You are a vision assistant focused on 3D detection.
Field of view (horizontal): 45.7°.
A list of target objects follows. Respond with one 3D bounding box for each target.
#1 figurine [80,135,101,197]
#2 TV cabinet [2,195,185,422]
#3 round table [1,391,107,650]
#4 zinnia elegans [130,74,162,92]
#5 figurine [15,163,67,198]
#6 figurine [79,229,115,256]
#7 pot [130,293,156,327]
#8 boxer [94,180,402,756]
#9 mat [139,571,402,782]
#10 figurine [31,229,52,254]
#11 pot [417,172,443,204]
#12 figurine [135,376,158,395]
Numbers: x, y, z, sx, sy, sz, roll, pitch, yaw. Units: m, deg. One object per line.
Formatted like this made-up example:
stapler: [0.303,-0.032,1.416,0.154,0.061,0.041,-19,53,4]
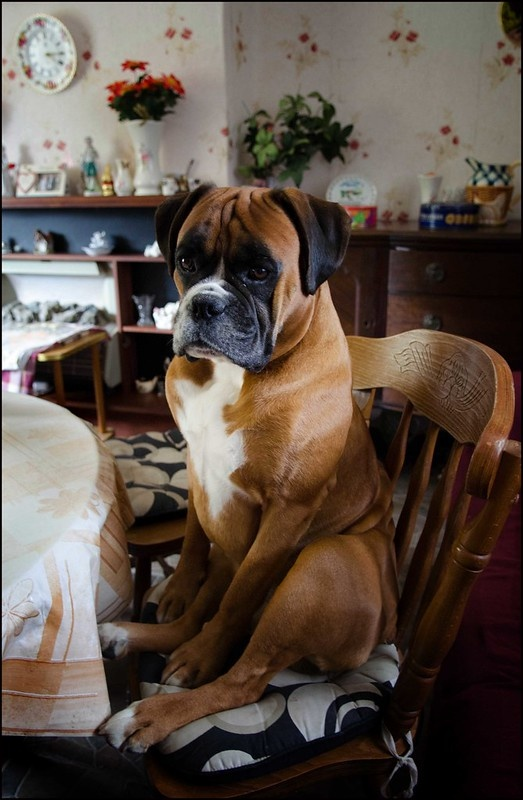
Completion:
figurine: [-0.904,-1.226,3.278,0.096,0.290,0.255,-4,14,-16]
TV cabinet: [-0.805,-0.450,2.954,1.181,1.095,0.373,2,12,10]
round table: [-0.266,0.169,0.876,0.183,0.316,0.168,2,19,-1]
zinnia elegans: [-0.524,-1.467,2.860,0.141,0.098,0.132,-1,13,-5]
figurine: [-1.184,-1.178,3.327,0.312,0.170,0.082,6,15,23]
figurine: [-0.883,-0.830,3.327,0.179,0.101,0.158,9,10,39]
pot: [-0.610,-0.496,3.365,0.170,0.209,0.168,0,15,0]
boxer: [0.003,0.089,0.822,0.440,0.705,0.395,1,22,4]
mat: [0.017,0.347,0.764,0.321,0.097,0.301,-8,6,-21]
figurine: [-1.211,-0.882,3.465,0.102,0.132,0.134,-2,0,6]
pot: [0.740,-0.928,2.711,0.089,0.113,0.092,0,13,0]
figurine: [-0.648,-0.089,3.508,0.116,0.099,0.082,5,-1,-33]
